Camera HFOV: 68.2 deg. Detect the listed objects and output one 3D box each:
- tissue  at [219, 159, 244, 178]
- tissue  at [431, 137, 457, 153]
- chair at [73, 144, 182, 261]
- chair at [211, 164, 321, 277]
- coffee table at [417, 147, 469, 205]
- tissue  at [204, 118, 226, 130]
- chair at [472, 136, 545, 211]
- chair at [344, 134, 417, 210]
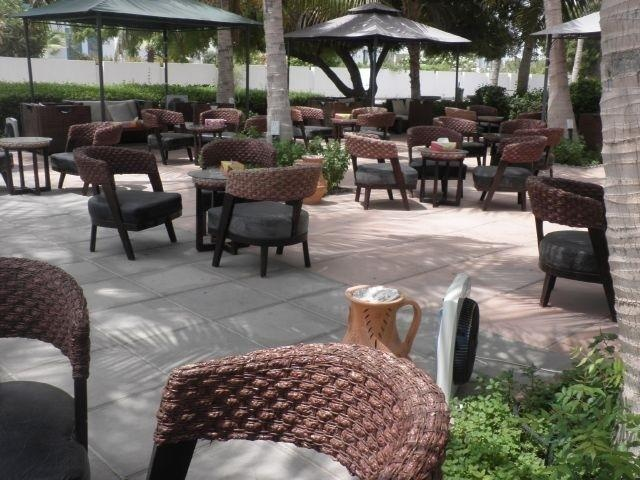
[{"bbox_3d":[-1.024,-0.859,5.561,0.331,0.112,0.381,-2,14,-13],"label":"tissue "},{"bbox_3d":[2.055,-1.605,8.016,0.410,0.139,0.329,0,7,1],"label":"tissue "},{"bbox_3d":[-2.211,-0.471,5.580,1.087,1.270,0.880,-5,13,-18],"label":"chair"},{"bbox_3d":[-0.609,-0.235,5.130,1.056,1.153,0.740,7,15,34],"label":"chair"},{"bbox_3d":[2.161,-1.130,8.434,0.761,0.965,1.400,1,11,12],"label":"coffee table"},{"bbox_3d":[-2.517,-2.803,11.376,0.469,0.226,0.351,-3,11,-10],"label":"tissue "},{"bbox_3d":[3.177,-1.160,8.069,1.042,1.214,1.525,3,11,18],"label":"chair"},{"bbox_3d":[1.026,-1.160,7.917,1.048,1.240,1.141,-4,12,-14],"label":"chair"}]
